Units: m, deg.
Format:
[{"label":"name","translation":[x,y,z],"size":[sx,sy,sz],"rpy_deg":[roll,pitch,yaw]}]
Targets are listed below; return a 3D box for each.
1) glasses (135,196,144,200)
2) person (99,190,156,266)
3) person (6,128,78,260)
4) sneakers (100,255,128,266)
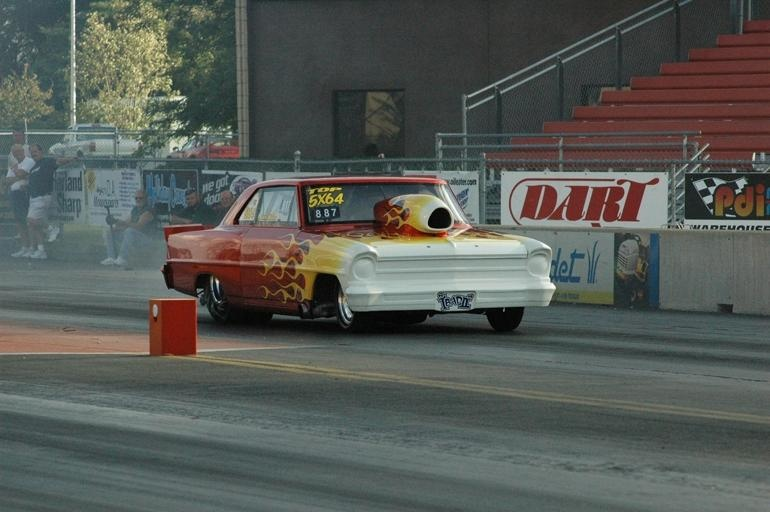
[{"label":"glasses","translation":[-5.358,-1.269,29.996],"size":[0.118,0.038,0.120],"rpy_deg":[0,-35,6]},{"label":"person","translation":[-5.643,-0.684,30.184],"size":[1.186,1.561,0.917],"rpy_deg":[-2,13,-10]},{"label":"person","translation":[-8.063,-1.279,31.640],"size":[1.012,2.569,1.546],"rpy_deg":[-9,15,-36]},{"label":"sneakers","translation":[-5.920,0.119,29.966],"size":[0.531,0.201,0.254],"rpy_deg":[5,-3,-22]}]
